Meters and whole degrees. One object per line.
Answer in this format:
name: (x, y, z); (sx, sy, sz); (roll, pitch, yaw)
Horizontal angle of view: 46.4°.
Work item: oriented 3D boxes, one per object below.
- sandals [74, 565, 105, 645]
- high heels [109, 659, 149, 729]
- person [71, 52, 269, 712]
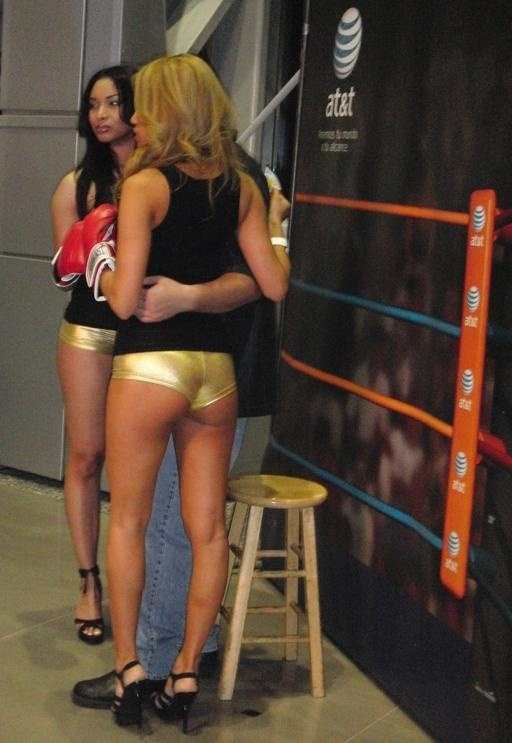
sandals: (-0.472, 0.712, 1.784); (0.070, 0.108, 0.249); (-1, 7, -9)
high heels: (-0.269, 0.696, 1.317); (0.066, 0.083, 0.204); (0, 4, -6)
person: (-0.169, 0.095, 1.272); (0.395, 1.444, 0.278); (3, 11, -20)
